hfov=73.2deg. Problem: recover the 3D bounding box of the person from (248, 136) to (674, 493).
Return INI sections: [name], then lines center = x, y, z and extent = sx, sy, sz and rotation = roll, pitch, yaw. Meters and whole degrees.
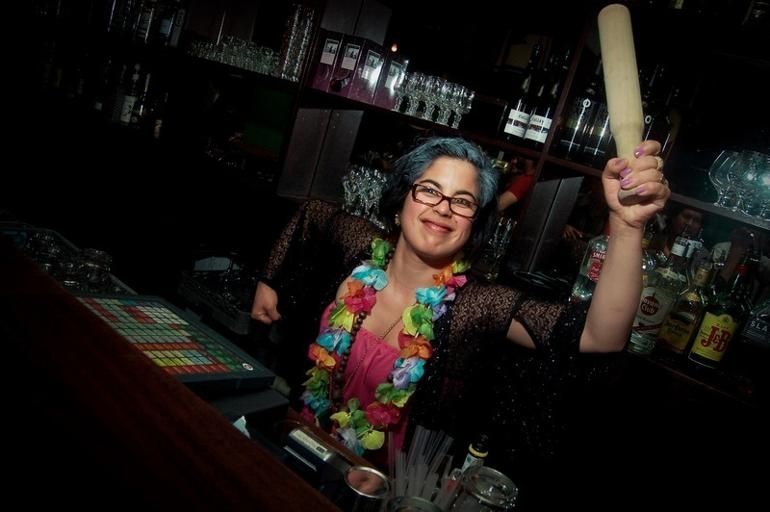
[person]
center = 0.374, 0.267, 2.140
extent = 1.185, 1.669, 0.444
rotation = 24, 4, 9
